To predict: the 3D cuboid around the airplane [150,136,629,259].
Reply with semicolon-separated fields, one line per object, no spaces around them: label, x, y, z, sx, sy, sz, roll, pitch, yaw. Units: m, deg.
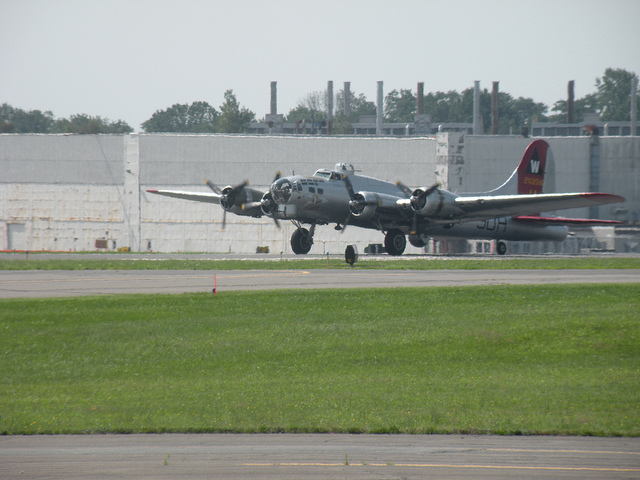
airplane;10.076;-3.886;117.391;32.314;10.484;31.462;0;1;-34
